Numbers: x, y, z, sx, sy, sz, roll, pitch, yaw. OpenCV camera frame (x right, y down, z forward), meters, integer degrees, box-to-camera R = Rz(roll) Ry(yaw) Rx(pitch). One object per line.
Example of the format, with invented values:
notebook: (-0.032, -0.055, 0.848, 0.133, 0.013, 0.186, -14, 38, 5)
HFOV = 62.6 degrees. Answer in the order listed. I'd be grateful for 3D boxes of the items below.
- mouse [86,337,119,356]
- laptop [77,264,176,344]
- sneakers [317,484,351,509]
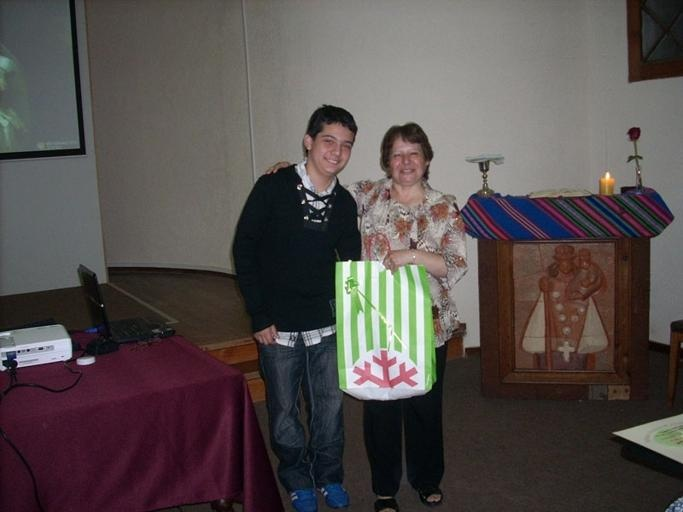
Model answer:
mouse: (-1.129, 0.414, 2.663, 0.095, 0.047, 0.094, 0, 3, -38)
laptop: (-1.091, 0.103, 2.833, 0.360, 0.364, 0.514, -9, 10, -28)
sneakers: (-0.025, 1.242, 2.856, 0.095, 0.072, 0.166, -1, 0, -26)
